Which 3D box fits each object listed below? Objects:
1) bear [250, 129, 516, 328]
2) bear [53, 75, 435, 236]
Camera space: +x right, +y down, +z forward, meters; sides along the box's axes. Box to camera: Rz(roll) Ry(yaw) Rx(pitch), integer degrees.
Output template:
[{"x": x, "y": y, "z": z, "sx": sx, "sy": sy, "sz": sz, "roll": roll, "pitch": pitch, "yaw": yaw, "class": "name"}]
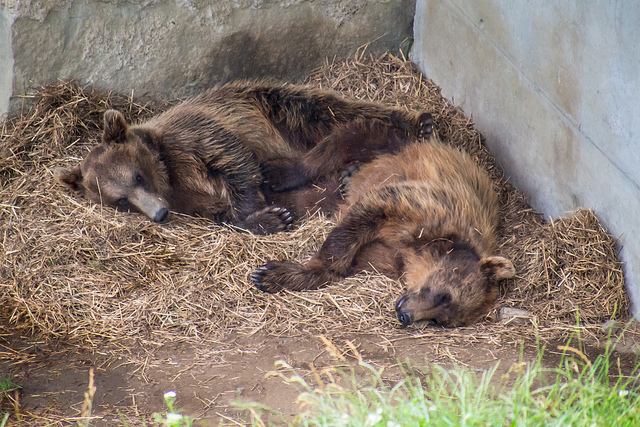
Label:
[{"x": 0.789, "y": 0.236, "z": 7.563, "sx": 2.086, "sy": 1.071, "sz": 1.798, "roll": -9, "pitch": 34, "yaw": 6, "class": "bear"}, {"x": -0.925, "y": -0.556, "z": 8.093, "sx": 2.649, "sy": 1.039, "sz": 1.978, "roll": -28, "pitch": 12, "yaw": -19, "class": "bear"}]
